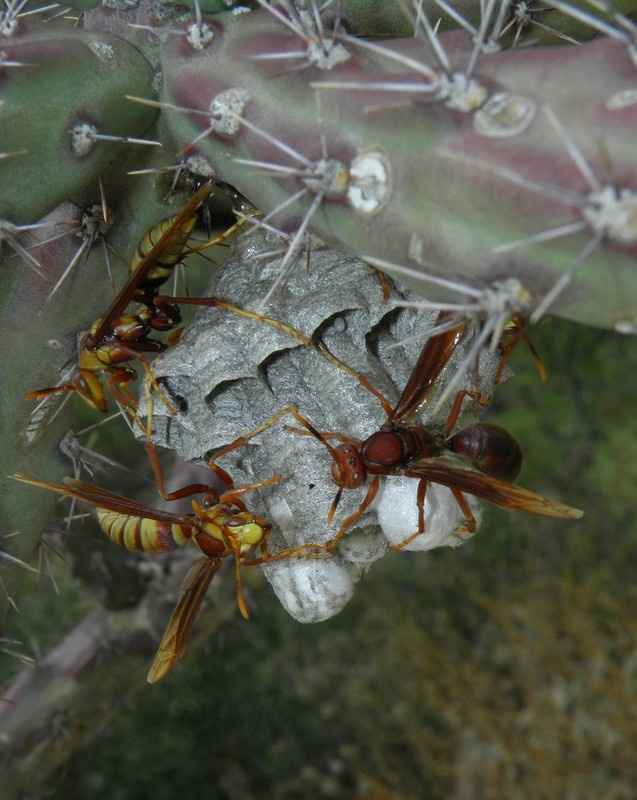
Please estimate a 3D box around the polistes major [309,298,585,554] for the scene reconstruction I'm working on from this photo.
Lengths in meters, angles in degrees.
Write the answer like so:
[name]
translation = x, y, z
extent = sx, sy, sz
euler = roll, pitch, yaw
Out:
[polistes major]
translation = 0.239, 0.095, 1.524
extent = 0.466, 0.195, 0.356
euler = 24, 63, 16
